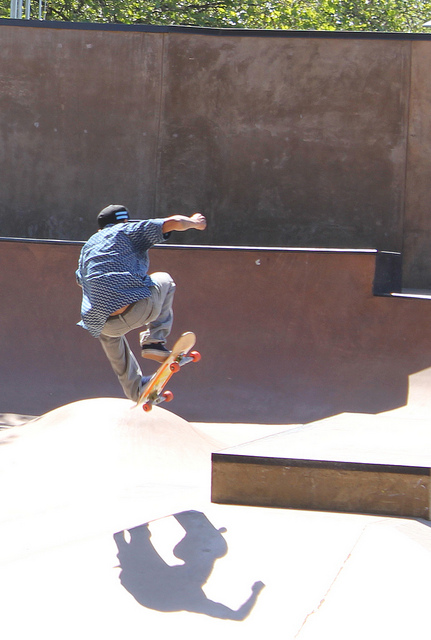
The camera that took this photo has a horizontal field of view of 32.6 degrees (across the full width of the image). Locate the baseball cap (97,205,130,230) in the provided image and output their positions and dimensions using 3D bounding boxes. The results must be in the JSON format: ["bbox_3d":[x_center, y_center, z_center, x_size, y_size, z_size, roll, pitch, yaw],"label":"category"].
[{"bbox_3d":[-0.719,-0.718,5.148,0.191,0.149,0.311,-9,10,-9],"label":"baseball cap"}]

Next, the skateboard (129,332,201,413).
[{"bbox_3d":[-0.414,0.436,5.199,0.160,0.936,0.278,52,35,9],"label":"skateboard"}]

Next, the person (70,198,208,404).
[{"bbox_3d":[-0.525,-0.086,5.067,0.809,1.405,0.689,-11,11,-9],"label":"person"}]
